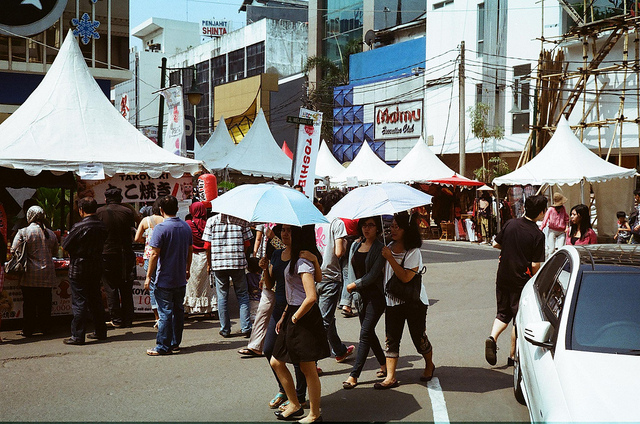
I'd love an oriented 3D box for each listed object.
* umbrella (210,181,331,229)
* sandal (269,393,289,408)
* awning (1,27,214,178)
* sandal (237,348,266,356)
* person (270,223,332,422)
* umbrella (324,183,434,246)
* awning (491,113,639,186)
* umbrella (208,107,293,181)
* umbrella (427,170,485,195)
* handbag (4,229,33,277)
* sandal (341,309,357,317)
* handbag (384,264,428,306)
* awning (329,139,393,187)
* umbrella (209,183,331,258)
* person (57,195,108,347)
[{"bbox_3d":[-0.752,-0.094,9.239,1.742,0.546,0.844,8,11,43],"label":"umbrella"},{"bbox_3d":[-0.623,2.694,9.167,0.330,0.143,0.145,-24,-2,-10],"label":"sandal"},{"bbox_3d":[-4.946,-2.355,13.797,3.039,1.877,3.068,-4,8,-21],"label":"awning"},{"bbox_3d":[-1.147,2.407,10.946,0.514,0.146,0.191,7,-6,2],"label":"sandal"},{"bbox_3d":[-0.274,1.548,8.759,0.777,2.665,0.499,2,7,12],"label":"person"},{"bbox_3d":[0.904,-0.137,9.589,0.918,0.599,0.953,-19,9,36],"label":"umbrella"},{"bbox_3d":[7.861,-1.603,20.493,2.525,1.557,2.538,2,-4,-25],"label":"awning"},{"bbox_3d":[-2.487,-2.620,24.898,2.618,2.675,3.117,2,8,14],"label":"umbrella"},{"bbox_3d":[5.592,-1.312,26.341,1.188,0.724,1.425,1,4,39],"label":"umbrella"},{"bbox_3d":[-5.509,0.761,11.644,0.458,0.843,0.180,-4,8,-28],"label":"handbag"},{"bbox_3d":[0.594,2.127,13.488,0.358,0.112,0.187,4,9,26],"label":"sandal"},{"bbox_3d":[1.262,1.102,9.613,0.406,0.551,0.309,26,-1,12],"label":"handbag"},{"bbox_3d":[1.820,-2.135,30.385,2.369,1.579,2.470,1,1,26],"label":"awning"},{"bbox_3d":[-0.758,-0.094,9.237,1.764,0.546,0.833,8,11,42],"label":"umbrella"},{"bbox_3d":[-4.270,1.077,11.564,0.573,2.552,0.876,6,9,37],"label":"person"}]
